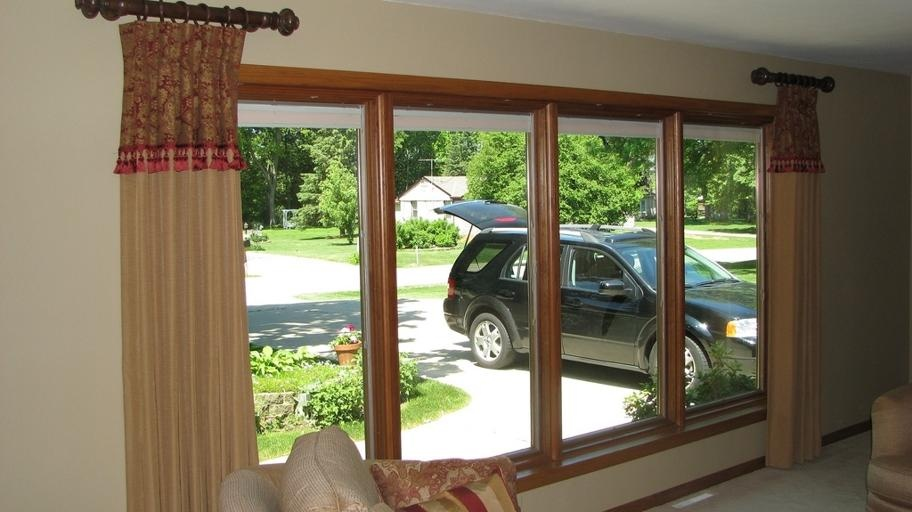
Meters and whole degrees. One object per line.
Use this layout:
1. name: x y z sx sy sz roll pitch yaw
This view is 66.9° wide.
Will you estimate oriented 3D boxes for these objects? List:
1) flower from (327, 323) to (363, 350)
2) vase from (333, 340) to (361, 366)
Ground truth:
1. flower: -0.781 0.565 4.855 0.192 0.120 0.180 -3 3 -15
2. vase: -0.772 0.678 4.856 0.170 0.112 0.160 -1 2 -8
